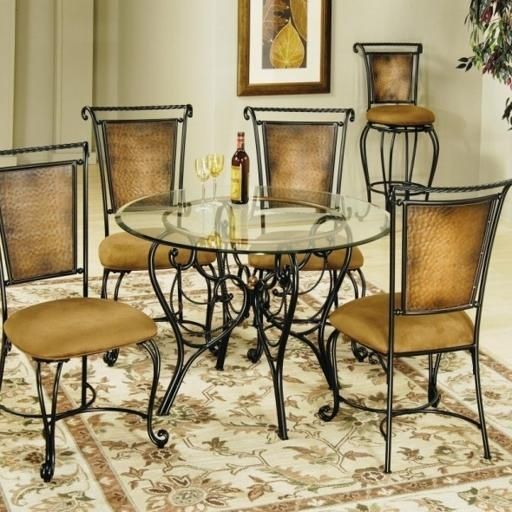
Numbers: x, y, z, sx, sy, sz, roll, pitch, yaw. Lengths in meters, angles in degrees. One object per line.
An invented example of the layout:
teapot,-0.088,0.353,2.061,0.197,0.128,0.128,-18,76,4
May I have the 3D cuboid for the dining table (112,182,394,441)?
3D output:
dining table,-0.018,0.200,2.586,1.274,0.724,1.072,-8,19,-24
